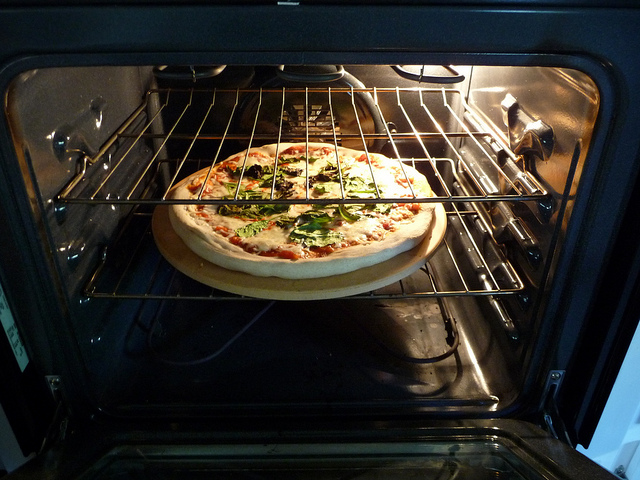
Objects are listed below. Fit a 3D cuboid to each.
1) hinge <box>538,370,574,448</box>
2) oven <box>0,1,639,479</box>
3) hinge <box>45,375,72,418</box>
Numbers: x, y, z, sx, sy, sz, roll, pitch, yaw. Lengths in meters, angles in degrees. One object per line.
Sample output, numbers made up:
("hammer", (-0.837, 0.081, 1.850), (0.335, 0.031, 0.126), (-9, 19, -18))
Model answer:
("hinge", (0.481, 0.343, 0.956), (0.089, 0.058, 0.150), (53, 33, 0))
("oven", (-0.026, -0.179, 1.175), (0.918, 0.790, 1.250), (-1, 39, 1))
("hinge", (-0.523, 0.325, 0.928), (0.028, 0.007, 0.113), (14, 40, -59))
